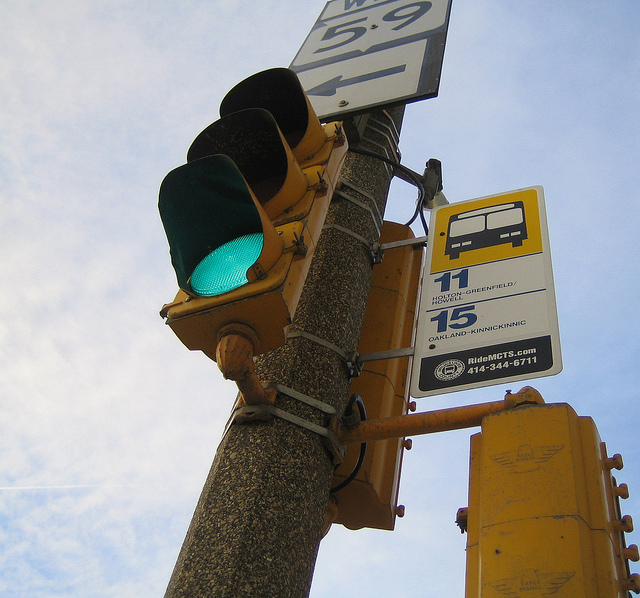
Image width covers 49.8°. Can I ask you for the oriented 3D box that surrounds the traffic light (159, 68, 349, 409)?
[{"bbox_3d":[-0.316,-0.213,2.948,0.469,1.330,0.822,-17,-59,18],"label":"traffic light"}]

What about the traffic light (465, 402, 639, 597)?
[{"bbox_3d":[0.781,0.696,2.277,0.543,0.700,0.317,14,-35,2],"label":"traffic light"}]
